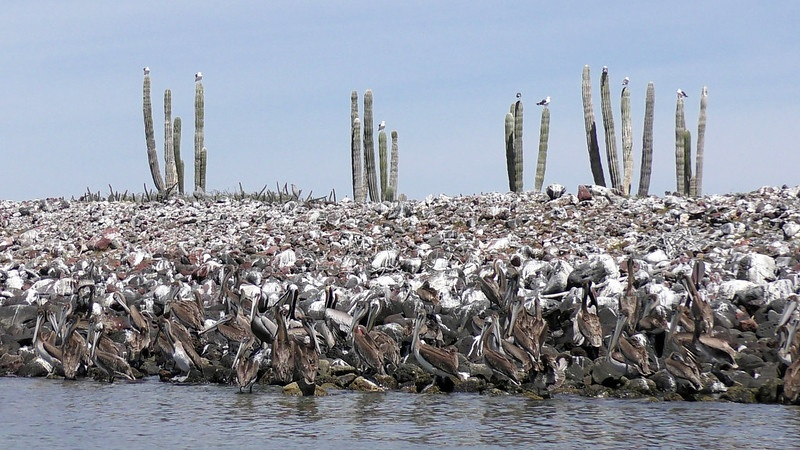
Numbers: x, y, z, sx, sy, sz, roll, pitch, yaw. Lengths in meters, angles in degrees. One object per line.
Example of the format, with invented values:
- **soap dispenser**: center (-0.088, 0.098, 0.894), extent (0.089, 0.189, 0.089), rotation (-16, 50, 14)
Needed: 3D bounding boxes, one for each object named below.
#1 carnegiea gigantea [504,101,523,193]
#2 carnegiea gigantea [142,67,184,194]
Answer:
- **carnegiea gigantea**: center (3.576, -2.508, 40.428), extent (0.507, 2.986, 2.105), rotation (-3, 0, 5)
- **carnegiea gigantea**: center (-7.522, -2.948, 41.770), extent (1.202, 4.768, 0.674), rotation (-3, 41, -11)
